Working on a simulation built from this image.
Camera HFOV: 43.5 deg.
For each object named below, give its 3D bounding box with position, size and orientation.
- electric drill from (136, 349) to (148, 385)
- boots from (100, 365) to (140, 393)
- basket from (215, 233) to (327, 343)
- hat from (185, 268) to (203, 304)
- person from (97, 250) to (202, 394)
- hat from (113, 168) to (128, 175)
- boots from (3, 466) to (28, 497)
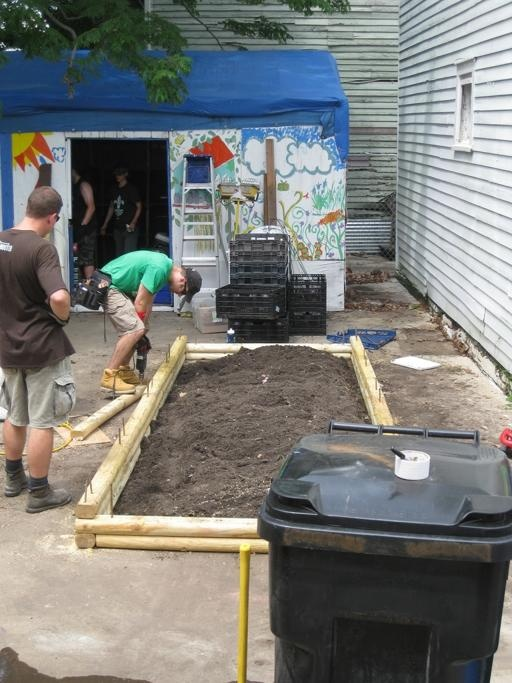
[{"bbox_3d":[-1.136,0.298,6.307,0.111,0.431,0.118,4,25,3],"label":"electric drill"},{"bbox_3d":[-1.314,0.381,6.179,0.274,0.138,0.369,1,6,1],"label":"boots"},{"bbox_3d":[0.154,-0.694,8.404,1.450,1.287,1.400,0,7,-2],"label":"basket"},{"bbox_3d":[-0.634,-0.544,6.345,0.245,0.296,0.250,2,-5,-11],"label":"hat"},{"bbox_3d":[-1.093,-0.212,6.274,1.021,1.289,0.697,-11,15,-24],"label":"person"},{"bbox_3d":[-2.297,-2.867,10.940,0.176,0.133,0.358,-8,13,-11],"label":"hat"},{"bbox_3d":[-1.524,0.893,4.083,0.093,0.151,0.228,1,15,-1],"label":"boots"}]
